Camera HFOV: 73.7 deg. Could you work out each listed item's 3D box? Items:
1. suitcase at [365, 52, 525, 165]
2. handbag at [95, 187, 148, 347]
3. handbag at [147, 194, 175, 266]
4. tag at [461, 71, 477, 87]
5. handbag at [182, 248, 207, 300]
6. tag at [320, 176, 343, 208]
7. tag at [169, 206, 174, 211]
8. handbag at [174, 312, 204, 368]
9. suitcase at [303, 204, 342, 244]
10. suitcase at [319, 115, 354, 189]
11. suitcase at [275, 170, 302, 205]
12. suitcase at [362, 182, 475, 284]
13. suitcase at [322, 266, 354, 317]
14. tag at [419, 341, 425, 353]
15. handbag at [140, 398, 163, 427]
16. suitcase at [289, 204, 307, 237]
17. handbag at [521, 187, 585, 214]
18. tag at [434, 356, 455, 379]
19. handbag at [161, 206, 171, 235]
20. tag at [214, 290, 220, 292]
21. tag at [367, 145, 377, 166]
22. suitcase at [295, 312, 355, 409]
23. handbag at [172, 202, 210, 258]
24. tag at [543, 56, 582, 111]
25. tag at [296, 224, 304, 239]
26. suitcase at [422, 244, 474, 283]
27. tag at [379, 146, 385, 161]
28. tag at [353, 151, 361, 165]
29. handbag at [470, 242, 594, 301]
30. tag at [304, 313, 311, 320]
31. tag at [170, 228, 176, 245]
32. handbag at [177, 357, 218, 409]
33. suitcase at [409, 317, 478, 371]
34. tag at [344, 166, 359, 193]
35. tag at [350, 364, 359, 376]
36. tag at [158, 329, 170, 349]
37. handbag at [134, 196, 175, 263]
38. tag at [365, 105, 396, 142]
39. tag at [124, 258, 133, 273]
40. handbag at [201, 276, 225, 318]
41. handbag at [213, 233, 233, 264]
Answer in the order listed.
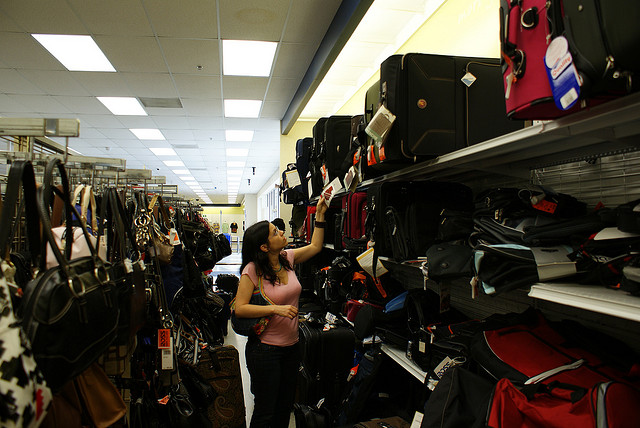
[{"bbox_3d":[0.790,-0.611,2.678,0.868,0.642,0.525,-2,1,-27],"label":"suitcase"},{"bbox_3d":[-1.030,0.254,2.215,0.221,0.844,0.447,-1,-8,-23],"label":"handbag"},{"bbox_3d":[-1.045,0.112,2.826,0.143,0.423,0.238,-3,7,-1],"label":"handbag"},{"bbox_3d":[0.842,-0.762,2.418,0.081,0.079,0.021,-4,-7,-10],"label":"tag"},{"bbox_3d":[-1.013,0.477,3.397,0.165,0.402,0.479,-2,-7,-17],"label":"handbag"},{"bbox_3d":[0.082,-0.159,3.356,0.060,0.205,0.155,26,24,-21],"label":"tag"},{"bbox_3d":[-1.359,-0.045,3.890,0.040,0.032,0.041,-2,-7,11],"label":"tag"},{"bbox_3d":[-1.105,1.022,3.418,0.243,0.090,0.630,9,18,-24],"label":"handbag"},{"bbox_3d":[0.002,0.109,4.322,0.396,0.494,0.348,-1,-3,20],"label":"suitcase"},{"bbox_3d":[0.151,-0.624,3.866,0.359,0.594,0.357,-16,20,-25],"label":"suitcase"},{"bbox_3d":[-0.360,-0.303,5.103,0.394,0.494,0.362,0,-2,-3],"label":"suitcase"},{"bbox_3d":[0.511,0.033,2.486,0.587,0.634,0.226,1,1,0],"label":"suitcase"},{"bbox_3d":[0.098,0.644,3.681,0.333,0.509,0.330,-1,1,-3],"label":"suitcase"},{"bbox_3d":[0.569,0.741,2.380,0.008,0.066,0.065,0,-6,-13],"label":"tag"},{"bbox_3d":[-1.060,1.260,2.690,0.045,0.196,0.154,-8,-8,27],"label":"handbag"},{"bbox_3d":[-0.287,0.065,5.156,0.214,0.323,0.295,2,-4,-18],"label":"suitcase"},{"bbox_3d":[1.061,-0.070,1.971,0.190,0.082,0.151,7,6,0],"label":"handbag"},{"bbox_3d":[0.607,0.763,2.126,0.025,0.090,0.095,34,36,12],"label":"tag"},{"bbox_3d":[-1.110,0.058,3.048,0.048,0.198,0.110,0,4,7],"label":"handbag"},{"bbox_3d":[-1.575,1.180,6.508,0.078,0.035,0.185,15,-17,-16],"label":"tag"},{"bbox_3d":[0.331,-0.370,2.723,0.010,0.148,0.132,2,-3,-17],"label":"tag"},{"bbox_3d":[0.037,1.167,3.382,0.424,0.687,0.512,-4,-7,-7],"label":"suitcase"},{"bbox_3d":[-1.233,0.208,4.062,0.312,0.619,0.224,-3,-7,-2],"label":"handbag"},{"bbox_3d":[0.914,-0.469,1.589,0.024,0.150,0.070,-2,-20,-13],"label":"tag"},{"bbox_3d":[-0.232,0.206,4.972,0.035,0.101,0.069,19,-6,-42],"label":"tag"},{"bbox_3d":[0.645,0.236,2.129,0.215,0.172,0.126,-8,-8,24],"label":"suitcase"},{"bbox_3d":[0.363,-0.354,2.528,0.012,0.054,0.053,-2,-3,-9],"label":"tag"},{"bbox_3d":[0.266,-0.409,3.143,0.066,0.066,0.047,4,1,20],"label":"tag"},{"bbox_3d":[0.833,0.203,1.807,0.247,0.134,0.322,-5,0,-29],"label":"handbag"},{"bbox_3d":[-0.110,0.902,3.727,0.032,0.043,0.098,2,-12,-12],"label":"tag"},{"bbox_3d":[-1.001,0.158,2.889,0.049,0.141,0.036,-3,33,-31],"label":"tag"},{"bbox_3d":[-0.899,1.242,3.098,0.171,0.387,0.187,-44,8,3],"label":"handbag"},{"bbox_3d":[0.688,0.667,2.351,0.339,0.136,0.263,-19,4,-11],"label":"suitcase"},{"bbox_3d":[0.235,-0.254,3.150,0.043,0.156,0.161,6,-19,-9],"label":"tag"},{"bbox_3d":[0.244,1.068,2.927,0.011,0.045,0.031,42,-24,-29],"label":"tag"},{"bbox_3d":[-0.964,0.769,2.629,0.065,0.128,0.053,-1,-8,-25],"label":"tag"},{"bbox_3d":[-1.074,0.073,2.668,0.137,0.441,0.260,15,-3,-29],"label":"handbag"},{"bbox_3d":[0.317,-0.544,2.494,0.137,0.216,0.154,21,-4,-10],"label":"tag"},{"bbox_3d":[-0.947,0.257,2.131,0.013,0.052,0.045,-6,2,8],"label":"tag"},{"bbox_3d":[-1.219,0.923,5.104,0.197,0.437,0.587,-16,-9,-13],"label":"handbag"},{"bbox_3d":[-1.549,0.509,6.914,0.210,0.398,0.394,-6,0,-23],"label":"handbag"}]
